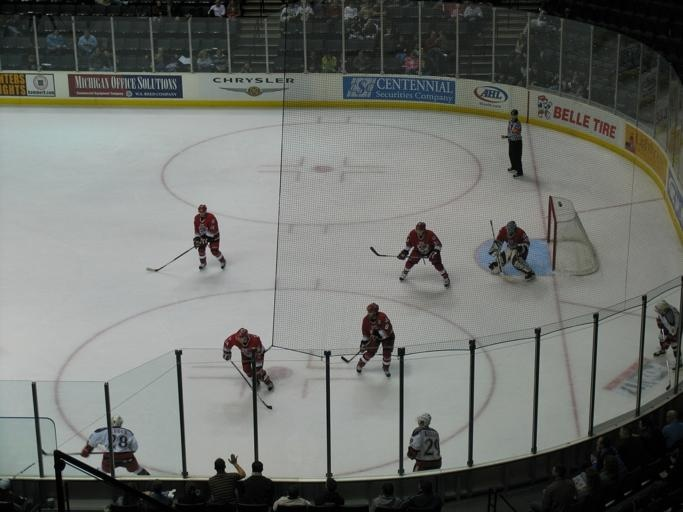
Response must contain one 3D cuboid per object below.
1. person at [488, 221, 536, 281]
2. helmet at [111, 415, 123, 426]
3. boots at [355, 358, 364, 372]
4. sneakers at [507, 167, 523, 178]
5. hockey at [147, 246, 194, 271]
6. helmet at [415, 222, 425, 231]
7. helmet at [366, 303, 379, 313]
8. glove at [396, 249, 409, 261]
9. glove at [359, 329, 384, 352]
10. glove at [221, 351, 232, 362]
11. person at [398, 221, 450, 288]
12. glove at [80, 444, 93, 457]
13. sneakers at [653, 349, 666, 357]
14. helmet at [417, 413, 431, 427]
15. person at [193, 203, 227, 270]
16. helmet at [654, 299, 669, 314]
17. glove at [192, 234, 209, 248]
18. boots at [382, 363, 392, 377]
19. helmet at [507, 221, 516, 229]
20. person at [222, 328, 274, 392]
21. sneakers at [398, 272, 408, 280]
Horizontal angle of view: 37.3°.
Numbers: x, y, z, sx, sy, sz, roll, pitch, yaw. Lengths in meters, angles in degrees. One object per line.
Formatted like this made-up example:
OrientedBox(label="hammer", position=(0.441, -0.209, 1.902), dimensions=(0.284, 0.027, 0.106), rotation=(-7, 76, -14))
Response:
OrientedBox(label="person", position=(3.230, -0.130, 19.322), dimensions=(0.987, 1.077, 0.713), rotation=(6, 16, 28))
OrientedBox(label="helmet", position=(-3.126, 2.298, 14.075), dimensions=(0.132, 0.093, 0.142), rotation=(7, 28, 7))
OrientedBox(label="boots", position=(0.291, 1.686, 15.693), dimensions=(0.117, 0.195, 0.067), rotation=(6, 7, -10))
OrientedBox(label="sneakers", position=(4.010, -1.940, 23.384), dimensions=(0.144, 0.156, 0.408), rotation=(-2, 22, -2))
OrientedBox(label="hockey", position=(-3.366, 0.068, 20.054), dimensions=(1.062, 0.489, 0.344), rotation=(-1, -4, -44))
OrientedBox(label="helmet", position=(1.452, -0.563, 18.903), dimensions=(0.146, 0.175, 0.161), rotation=(4, -5, 16))
OrientedBox(label="helmet", position=(0.523, 0.839, 16.421), dimensions=(0.174, 0.148, 0.132), rotation=(2, 14, -31))
OrientedBox(label="glove", position=(1.152, -0.024, 19.139), dimensions=(0.191, 0.188, 0.058), rotation=(-26, -45, 21))
OrientedBox(label="glove", position=(0.479, 1.364, 16.540), dimensions=(0.256, 0.352, 0.131), rotation=(32, -6, 8))
OrientedBox(label="glove", position=(-1.630, 1.413, 14.448), dimensions=(0.113, 0.099, 0.113), rotation=(1, 4, -5))
OrientedBox(label="person", position=(1.494, -0.057, 19.071), dimensions=(1.043, 1.254, 0.742), rotation=(6, 22, 27))
OrientedBox(label="glove", position=(-3.586, 2.741, 14.261), dimensions=(0.154, 0.157, 0.186), rotation=(-7, -34, -25))
OrientedBox(label="sneakers", position=(4.662, 1.417, 14.929), dimensions=(0.219, 0.080, 0.068), rotation=(-10, 28, -20))
OrientedBox(label="helmet", position=(1.166, 2.308, 14.268), dimensions=(0.199, 0.178, 0.154), rotation=(15, 7, 14))
OrientedBox(label="person", position=(-2.593, -0.363, 19.828), dimensions=(0.603, 1.254, 0.725), rotation=(-3, -2, -8))
OrientedBox(label="helmet", position=(4.715, 0.750, 14.911), dimensions=(0.193, 0.189, 0.221), rotation=(-19, 19, 17))
OrientedBox(label="glove", position=(-2.737, -0.269, 19.632), dimensions=(0.204, 0.095, 0.258), rotation=(6, -42, -6))
OrientedBox(label="boots", position=(0.724, 1.784, 15.838), dimensions=(0.105, 0.193, 0.313), rotation=(-3, -2, -14))
OrientedBox(label="helmet", position=(3.198, -0.588, 19.085), dimensions=(0.149, 0.153, 0.212), rotation=(-3, -2, 9))
OrientedBox(label="person", position=(-1.393, 1.550, 15.102), dimensions=(0.602, 1.103, 0.629), rotation=(5, 38, 24))
OrientedBox(label="sneakers", position=(1.188, 0.350, 19.334), dimensions=(0.086, 0.164, 0.232), rotation=(21, 41, -6))
